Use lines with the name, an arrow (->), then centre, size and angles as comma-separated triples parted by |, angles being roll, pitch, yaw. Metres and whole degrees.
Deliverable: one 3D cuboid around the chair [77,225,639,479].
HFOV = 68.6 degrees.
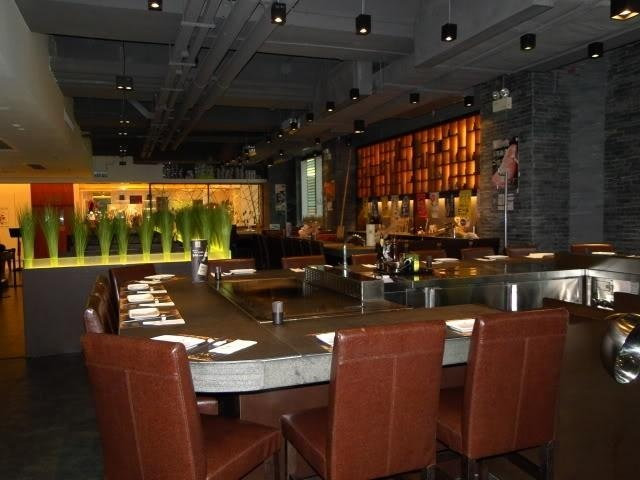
chair -> 0.318, 0.660, 2.327 | 2.248, 1.134, 1.184 | -9, 10, 4
